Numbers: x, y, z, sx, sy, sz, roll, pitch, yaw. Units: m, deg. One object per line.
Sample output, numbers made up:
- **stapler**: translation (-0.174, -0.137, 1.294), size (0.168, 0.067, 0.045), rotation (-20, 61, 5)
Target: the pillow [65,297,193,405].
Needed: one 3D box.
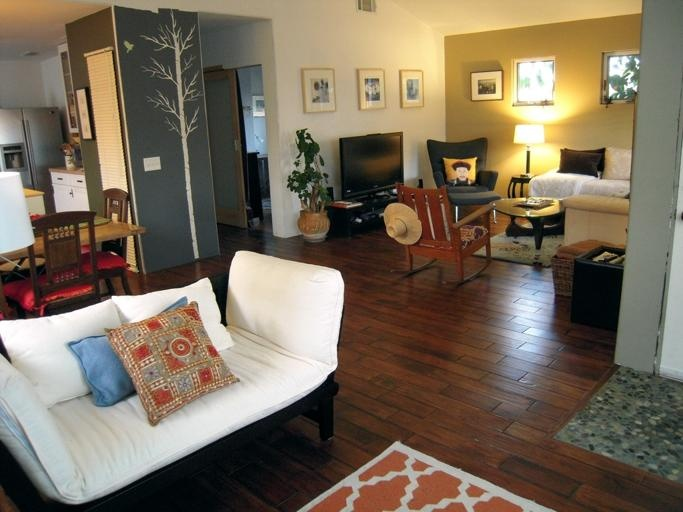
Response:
- **pillow**: translation (-0.984, 0.583, 2.759), size (0.161, 0.634, 0.674), rotation (-36, -29, 23)

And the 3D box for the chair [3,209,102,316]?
- **chair**: translation (-2.129, 0.076, 3.652), size (0.584, 0.917, 0.516), rotation (-18, 46, -35)

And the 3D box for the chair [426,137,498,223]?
- **chair**: translation (2.016, -1.272, 8.085), size (1.079, 1.234, 1.176), rotation (-6, 20, -4)

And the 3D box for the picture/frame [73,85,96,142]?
- **picture/frame**: translation (-3.193, -1.771, 6.214), size (0.060, 0.657, 0.516), rotation (-11, 15, -37)

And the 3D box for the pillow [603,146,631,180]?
- **pillow**: translation (4.113, -1.382, 7.409), size (0.341, 0.448, 0.611), rotation (3, 18, 26)

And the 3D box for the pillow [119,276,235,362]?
- **pillow**: translation (-0.918, 0.376, 2.828), size (0.148, 0.299, 0.434), rotation (-4, 15, 45)

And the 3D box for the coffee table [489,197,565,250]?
- **coffee table**: translation (2.282, -0.354, 6.292), size (0.829, 0.377, 0.841), rotation (14, 4, 15)

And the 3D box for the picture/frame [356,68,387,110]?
- **picture/frame**: translation (0.509, -2.666, 7.940), size (0.061, 0.577, 0.597), rotation (-17, 24, -36)

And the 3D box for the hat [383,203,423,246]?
- **hat**: translation (0.645, -0.329, 5.223), size (0.399, 0.427, 0.174), rotation (-12, 14, 39)

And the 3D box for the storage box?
- **storage box**: translation (2.165, 0.279, 4.200), size (0.358, 0.575, 0.455), rotation (4, 19, 29)

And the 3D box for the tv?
- **tv**: translation (0.469, -1.370, 7.779), size (0.323, 0.987, 1.508), rotation (15, 23, 40)

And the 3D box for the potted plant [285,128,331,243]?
- **potted plant**: translation (-0.482, -1.016, 7.109), size (0.591, 1.583, 0.694), rotation (-7, 17, -3)

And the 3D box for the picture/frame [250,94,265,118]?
- **picture/frame**: translation (-1.774, -3.161, 10.470), size (0.341, 0.457, 0.059), rotation (-20, 22, -39)

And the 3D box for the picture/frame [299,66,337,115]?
- **picture/frame**: translation (-0.331, -2.411, 7.241), size (0.059, 0.592, 0.673), rotation (13, 25, 37)

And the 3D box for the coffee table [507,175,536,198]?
- **coffee table**: translation (3.033, -1.183, 8.455), size (0.392, 0.396, 0.381), rotation (-14, 23, -23)

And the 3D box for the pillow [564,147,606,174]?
- **pillow**: translation (3.735, -1.453, 7.600), size (0.463, 0.277, 0.160), rotation (13, -7, 45)

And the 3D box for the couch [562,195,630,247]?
- **couch**: translation (2.475, -0.328, 4.872), size (0.584, 0.478, 0.436), rotation (5, 19, 32)

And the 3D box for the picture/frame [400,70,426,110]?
- **picture/frame**: translation (1.199, -2.866, 8.504), size (0.073, 0.653, 0.700), rotation (11, 24, 43)

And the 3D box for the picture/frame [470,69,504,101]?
- **picture/frame**: translation (2.563, -3.010, 8.667), size (0.608, 0.501, 0.060), rotation (9, 21, 37)
